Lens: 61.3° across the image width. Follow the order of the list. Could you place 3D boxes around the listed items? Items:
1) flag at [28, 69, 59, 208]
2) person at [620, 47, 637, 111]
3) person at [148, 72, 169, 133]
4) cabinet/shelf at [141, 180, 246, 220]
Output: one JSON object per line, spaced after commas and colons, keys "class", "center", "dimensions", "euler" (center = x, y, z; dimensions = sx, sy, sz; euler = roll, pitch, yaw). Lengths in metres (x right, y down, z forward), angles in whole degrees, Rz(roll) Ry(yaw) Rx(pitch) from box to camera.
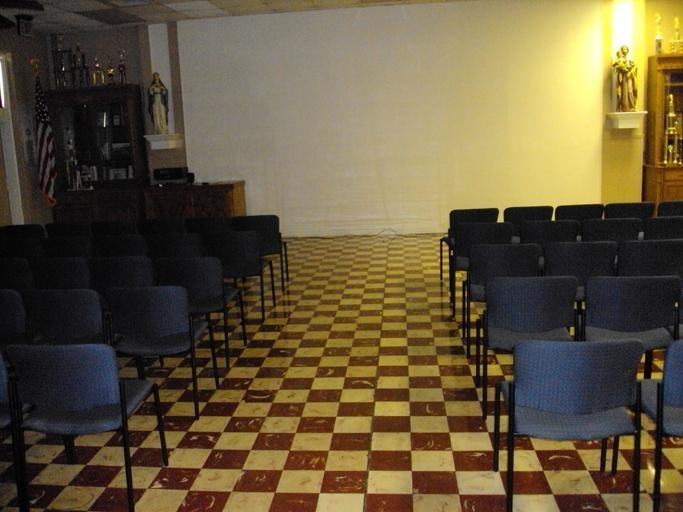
{"class": "flag", "center": [-5.740, -2.208, 11.088], "dimensions": [0.438, 2.493, 0.895], "euler": [-10, 16, -26]}
{"class": "person", "center": [5.384, -3.308, 10.712], "dimensions": [0.331, 1.173, 0.351], "euler": [3, 16, 25]}
{"class": "person", "center": [-3.615, -3.046, 11.465], "dimensions": [0.416, 1.174, 0.405], "euler": [-8, 15, -17]}
{"class": "cabinet/shelf", "center": [-2.794, -1.028, 10.678], "dimensions": [1.642, 0.595, 0.422], "euler": [-1, 14, 10]}
